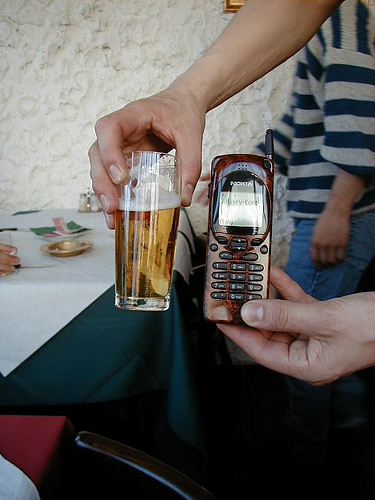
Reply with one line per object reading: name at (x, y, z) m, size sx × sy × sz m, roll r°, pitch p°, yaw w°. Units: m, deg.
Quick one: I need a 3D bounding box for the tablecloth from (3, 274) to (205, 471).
tablecloth at (-0.161, 0.187, 0.812) m, size 0.313 × 0.360 × 0.235 m, roll -14°, pitch 28°, yaw -22°

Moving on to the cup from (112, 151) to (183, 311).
cup at (-0.057, -0.027, 0.589) m, size 0.085 × 0.209 × 0.144 m, roll 3°, pitch 38°, yaw 12°
